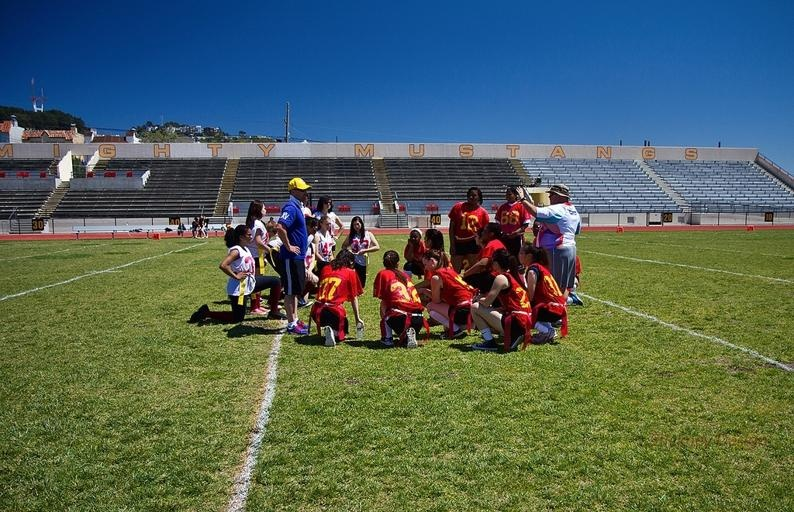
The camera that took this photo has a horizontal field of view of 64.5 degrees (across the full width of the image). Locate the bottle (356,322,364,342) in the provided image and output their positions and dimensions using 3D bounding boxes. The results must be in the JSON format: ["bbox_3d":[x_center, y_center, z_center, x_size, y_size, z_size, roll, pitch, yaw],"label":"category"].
[{"bbox_3d":[-0.566,1.142,9.750,0.112,0.296,0.365,-2,-2,-4],"label":"bottle"}]

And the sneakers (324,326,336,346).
[{"bbox_3d":[-1.010,1.186,9.379,0.130,0.345,0.150,-5,8,3],"label":"sneakers"}]

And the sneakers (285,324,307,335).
[{"bbox_3d":[-1.583,1.156,10.007,0.358,0.155,0.134,1,10,1],"label":"sneakers"}]
